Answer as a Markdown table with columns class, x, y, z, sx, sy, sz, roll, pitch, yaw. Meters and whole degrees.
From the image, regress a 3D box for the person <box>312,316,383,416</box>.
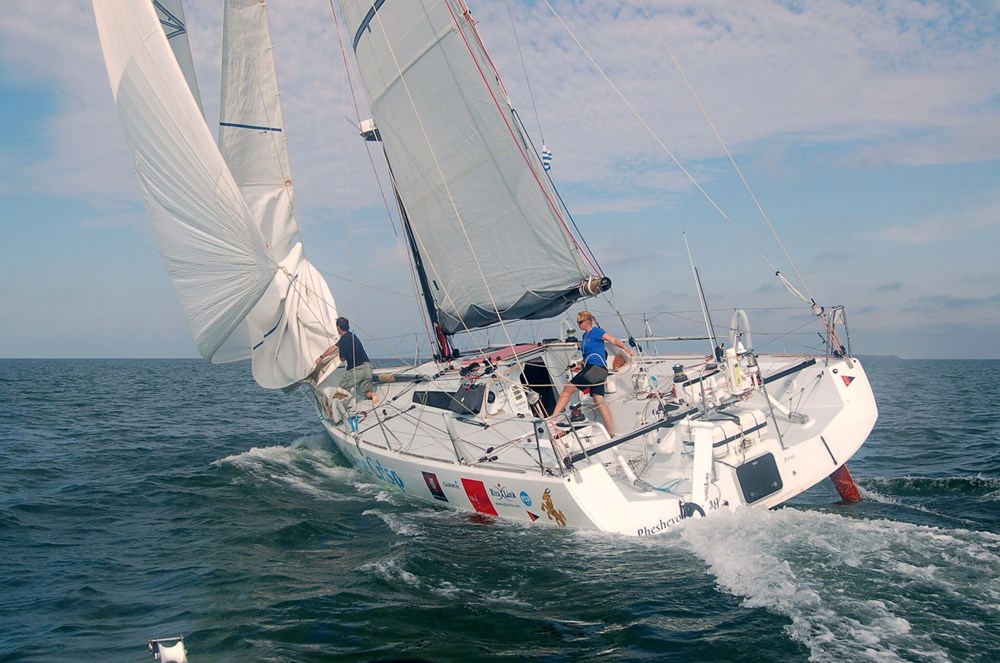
| class | x | y | z | sx | sy | sz | roll | pitch | yaw |
| --- | --- | --- | --- | --- | --- | --- | --- | --- | --- |
| person | -2.567 | 0.495 | 10.856 | 1.383 | 1.486 | 1.092 | 1 | -4 | -34 |
